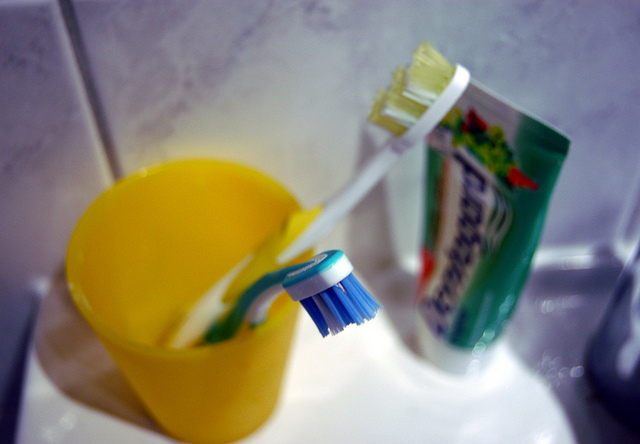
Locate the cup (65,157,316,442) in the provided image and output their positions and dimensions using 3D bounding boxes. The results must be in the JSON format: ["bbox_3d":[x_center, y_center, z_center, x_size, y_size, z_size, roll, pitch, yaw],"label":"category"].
[{"bbox_3d":[-0.121,0.093,0.663,0.238,0.224,0.279,-4,48,-6],"label":"cup"}]
